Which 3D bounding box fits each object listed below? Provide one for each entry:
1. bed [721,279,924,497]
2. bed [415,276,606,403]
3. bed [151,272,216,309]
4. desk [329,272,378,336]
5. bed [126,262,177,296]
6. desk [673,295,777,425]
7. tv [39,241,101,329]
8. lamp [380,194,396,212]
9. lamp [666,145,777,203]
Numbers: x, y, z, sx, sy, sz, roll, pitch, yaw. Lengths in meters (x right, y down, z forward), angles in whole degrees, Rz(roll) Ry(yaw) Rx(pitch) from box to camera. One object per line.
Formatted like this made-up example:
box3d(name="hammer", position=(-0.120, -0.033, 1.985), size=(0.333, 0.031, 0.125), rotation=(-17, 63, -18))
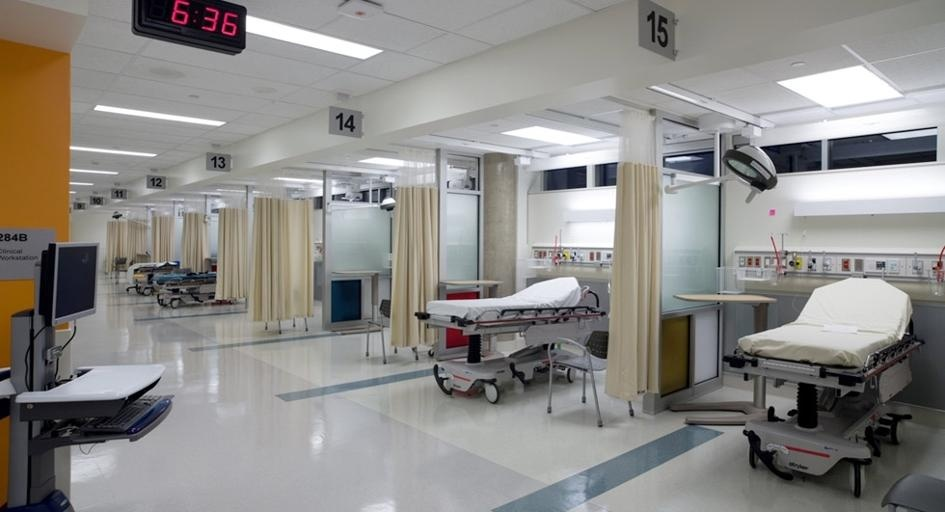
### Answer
box3d(name="bed", position=(4.306, 1.374, 6.742), size=(2.840, 1.876, 1.521), rotation=(-4, 3, -42))
box3d(name="bed", position=(0.489, 1.144, 8.038), size=(2.787, 1.406, 1.529), rotation=(2, -2, -31))
box3d(name="bed", position=(-7.784, 0.882, 15.098), size=(1.439, 0.581, 1.234), rotation=(-1, 3, -44))
box3d(name="desk", position=(-2.493, 0.926, 11.564), size=(0.913, 1.206, 0.473), rotation=(-2, 3, -36))
box3d(name="bed", position=(-10.177, 0.611, 17.442), size=(1.512, 0.766, 1.651), rotation=(2, -3, -13))
box3d(name="desk", position=(3.222, 1.377, 7.421), size=(1.363, 1.466, 1.246), rotation=(-4, -3, 9))
box3d(name="tv", position=(-3.687, 0.247, 5.123), size=(0.226, 0.742, 0.526), rotation=(-1, 2, 6))
box3d(name="lamp", position=(-1.816, -1.108, 11.811), size=(0.291, 0.298, 0.914), rotation=(-1, 2, -12))
box3d(name="lamp", position=(3.232, -1.040, 7.363), size=(1.173, 0.728, 1.358), rotation=(0, 2, 15))
